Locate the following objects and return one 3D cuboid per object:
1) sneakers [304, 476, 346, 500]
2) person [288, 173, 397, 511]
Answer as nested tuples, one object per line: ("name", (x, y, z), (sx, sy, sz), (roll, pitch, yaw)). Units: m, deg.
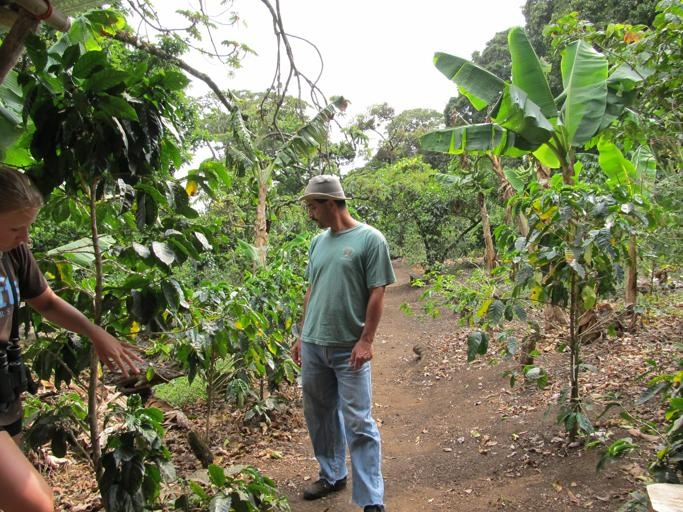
("sneakers", (-0.163, 2.009, 4.638), (0.386, 0.158, 0.136), (5, -12, -27))
("person", (0.002, 0.681, 4.464), (0.865, 2.747, 0.476), (-6, 0, 40))
